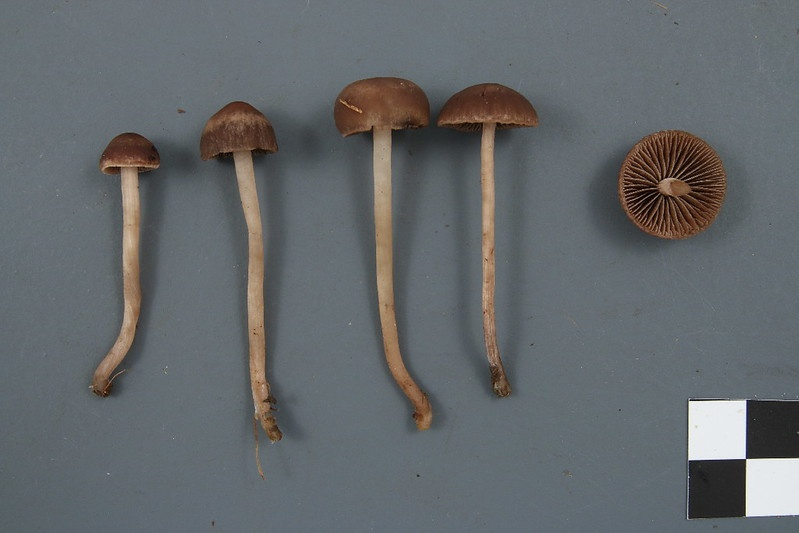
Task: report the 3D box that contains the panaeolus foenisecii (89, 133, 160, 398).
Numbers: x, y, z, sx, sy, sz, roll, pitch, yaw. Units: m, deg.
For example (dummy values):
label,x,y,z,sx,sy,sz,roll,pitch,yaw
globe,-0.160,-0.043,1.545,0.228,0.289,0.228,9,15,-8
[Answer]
label,x,y,z,sx,sy,sz,roll,pitch,yaw
panaeolus foenisecii,-1.334,-0.008,6.279,0.368,1.236,0.297,-1,-8,-2
